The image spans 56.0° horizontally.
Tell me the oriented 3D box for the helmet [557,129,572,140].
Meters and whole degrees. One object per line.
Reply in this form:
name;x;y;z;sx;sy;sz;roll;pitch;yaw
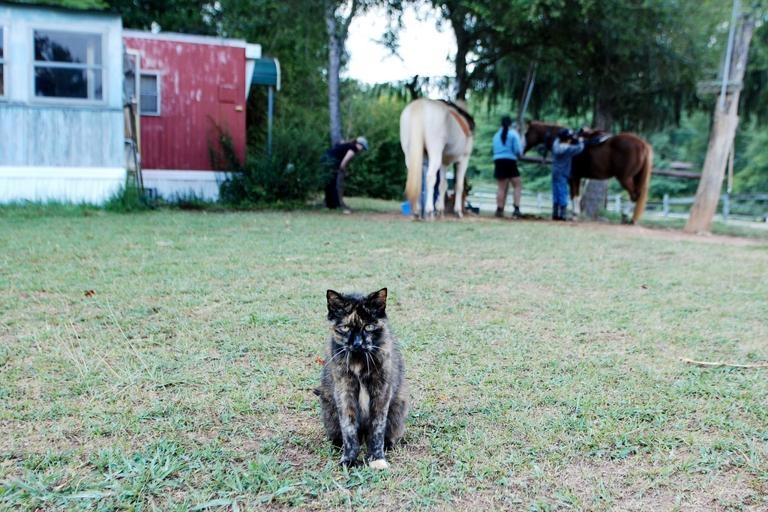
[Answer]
helmet;4.000;-2.669;15.908;0.225;0.245;0.315;3;6;7

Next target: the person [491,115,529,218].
person;2.840;-2.010;16.547;0.692;2.321;1.566;3;10;10

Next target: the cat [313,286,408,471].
cat;-0.187;1.016;6.214;0.809;1.486;0.483;1;9;-6

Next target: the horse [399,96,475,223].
horse;1.139;-2.104;15.761;1.063;2.566;2.845;5;10;18

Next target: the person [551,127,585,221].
person;4.052;-1.807;16.298;0.571;2.066;1.084;2;9;4
